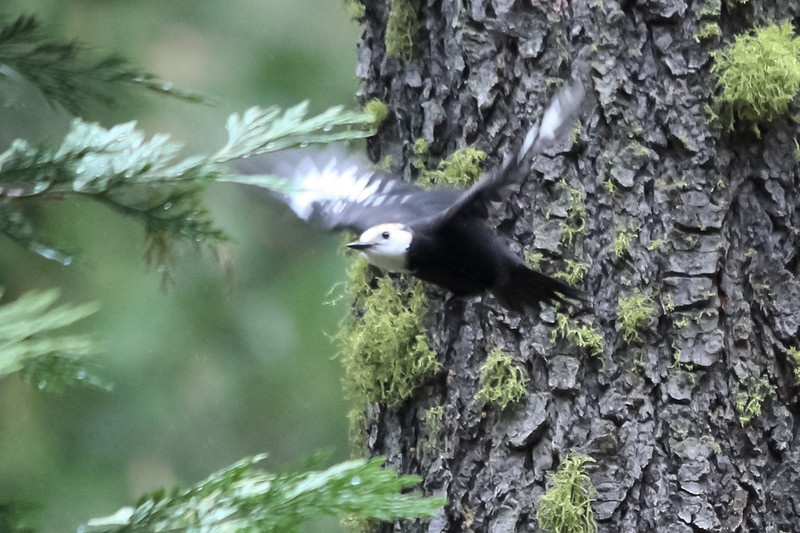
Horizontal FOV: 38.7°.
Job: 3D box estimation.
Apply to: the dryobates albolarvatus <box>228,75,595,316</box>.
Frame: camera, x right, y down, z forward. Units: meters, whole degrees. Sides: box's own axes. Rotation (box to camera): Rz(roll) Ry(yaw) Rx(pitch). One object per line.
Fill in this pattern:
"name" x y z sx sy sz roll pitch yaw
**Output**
"dryobates albolarvatus" 0.063 -0.178 4.742 0.936 0.629 1.201 -25 20 -35
